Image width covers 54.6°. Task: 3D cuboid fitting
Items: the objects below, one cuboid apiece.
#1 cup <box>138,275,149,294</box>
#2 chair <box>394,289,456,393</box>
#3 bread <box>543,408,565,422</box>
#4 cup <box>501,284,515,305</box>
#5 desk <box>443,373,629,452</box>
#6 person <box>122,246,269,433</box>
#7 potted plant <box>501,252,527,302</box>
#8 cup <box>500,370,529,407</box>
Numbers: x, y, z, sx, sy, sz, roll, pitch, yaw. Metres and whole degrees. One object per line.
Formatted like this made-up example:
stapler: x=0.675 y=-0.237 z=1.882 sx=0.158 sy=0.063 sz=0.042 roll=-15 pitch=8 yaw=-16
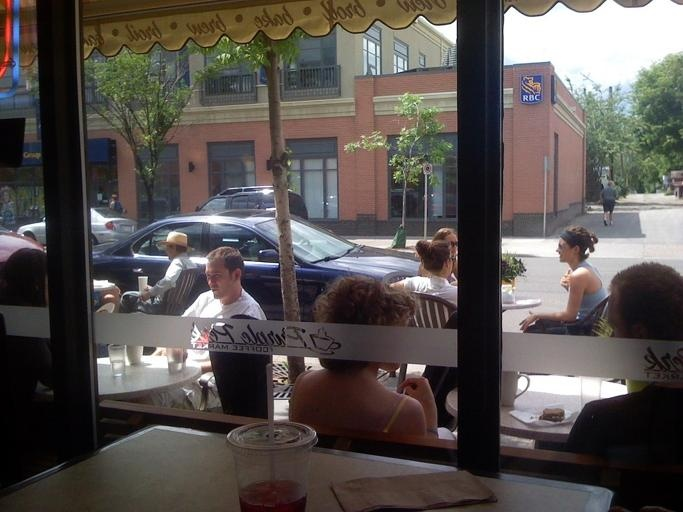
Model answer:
cup: x=-1.036 y=0.142 z=3.461 sx=0.068 sy=0.108 sz=0.068 roll=0 pitch=-3 yaw=0
chair: x=0.470 y=0.412 z=3.275 sx=0.373 sy=0.514 sz=0.379 roll=1 pitch=-17 yaw=18
bread: x=0.895 y=0.672 z=2.817 sx=0.057 sy=0.022 sz=0.061 roll=-1 pitch=30 yaw=18
cup: x=0.697 y=0.159 z=2.783 sx=0.060 sy=0.113 sz=0.061 roll=-4 pitch=37 yaw=3
desk: x=0.960 y=0.662 z=2.971 sx=0.525 sy=0.195 sz=0.520 roll=-12 pitch=-9 yaw=-21
person: x=-0.646 y=0.299 z=3.356 sx=0.696 sy=0.650 sz=0.478 roll=3 pitch=3 yaw=34
potted plant: x=0.692 y=0.086 z=2.765 sx=0.107 sy=0.213 sz=0.163 roll=3 pitch=7 yaw=42
cup: x=0.737 y=0.552 z=2.846 sx=0.088 sy=0.138 sz=0.135 roll=-10 pitch=15 yaw=-43
